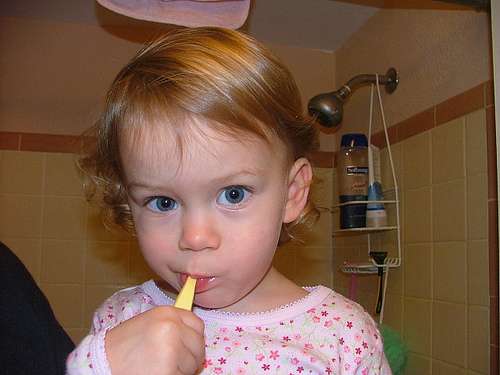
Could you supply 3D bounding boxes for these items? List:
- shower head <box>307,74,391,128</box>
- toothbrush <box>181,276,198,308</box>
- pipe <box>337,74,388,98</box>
[{"bbox_3d":[0.406,-0.367,1.761,0.373,0.236,0.149,-2,3,-28],"label":"shower head"},{"bbox_3d":[-0.122,0.212,0.870,0.030,0.075,0.090,-1,3,-2],"label":"toothbrush"},{"bbox_3d":[0.470,-0.441,1.775,0.179,0.106,0.108,-9,6,-21],"label":"pipe"}]
